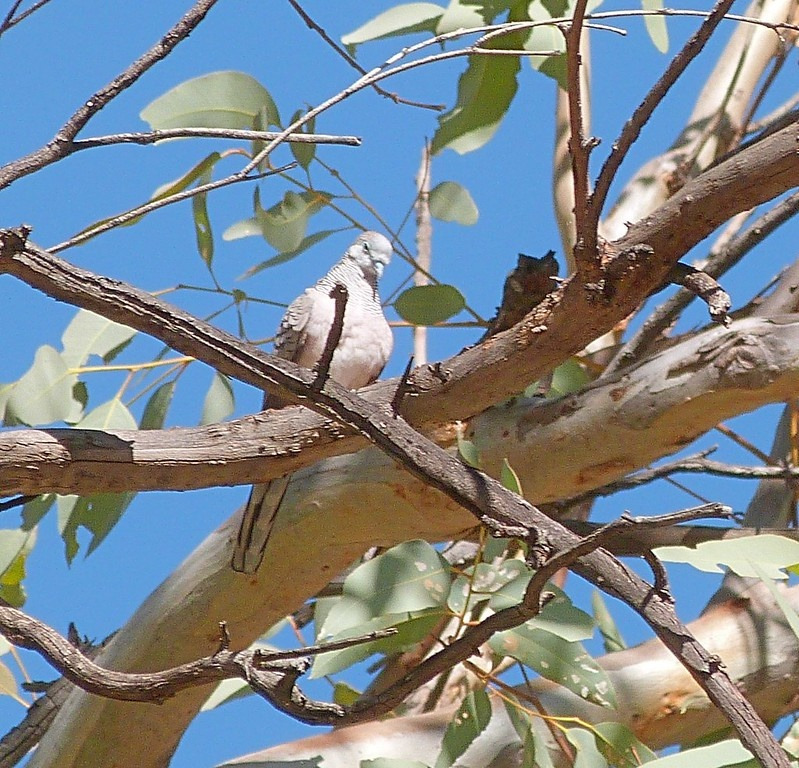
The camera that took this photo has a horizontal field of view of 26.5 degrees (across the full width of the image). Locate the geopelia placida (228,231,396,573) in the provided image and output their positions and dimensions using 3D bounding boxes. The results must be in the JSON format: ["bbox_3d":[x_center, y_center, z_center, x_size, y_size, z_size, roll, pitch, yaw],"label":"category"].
[{"bbox_3d":[-0.248,0.060,4.192,0.263,0.850,0.406,22,-19,4],"label":"geopelia placida"}]
